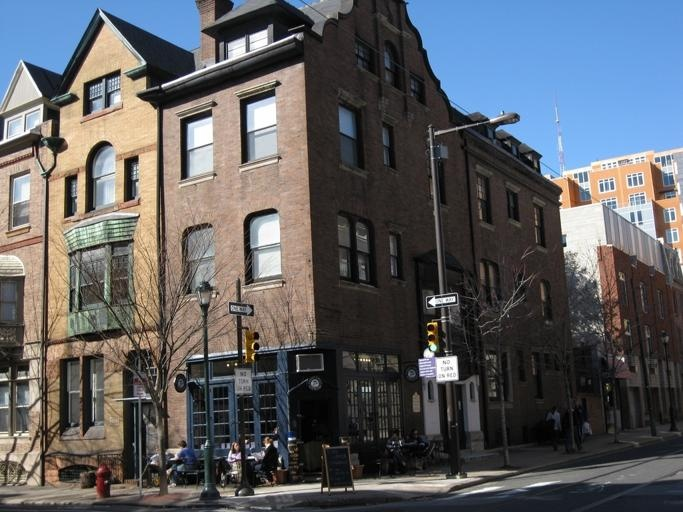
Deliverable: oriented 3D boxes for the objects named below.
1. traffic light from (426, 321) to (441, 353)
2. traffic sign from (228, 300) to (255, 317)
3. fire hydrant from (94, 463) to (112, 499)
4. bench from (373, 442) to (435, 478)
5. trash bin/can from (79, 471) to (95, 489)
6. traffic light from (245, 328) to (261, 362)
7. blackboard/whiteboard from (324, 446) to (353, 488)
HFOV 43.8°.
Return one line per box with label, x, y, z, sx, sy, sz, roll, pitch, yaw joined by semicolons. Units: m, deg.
traffic light;3.392;2.924;31.278;0.439;1.232;0.825;-5;-18;3
traffic sign;-3.519;1.839;29.374;0.375;0.555;1.129;-13;-20;25
fire hydrant;-8.610;8.182;30.683;0.438;1.205;0.693;-1;-18;-13
bench;2.483;8.177;33.470;1.857;1.480;0.684;3;-2;-23
trash bin/can;-10.349;9.154;34.610;0.586;0.669;0.587;1;-10;-9
traffic light;-3.102;3.064;29.349;0.437;1.270;1.094;-2;-18;-8
blackboard/whiteboard;-0.145;7.109;28.418;1.079;1.710;0.975;4;-16;-26
